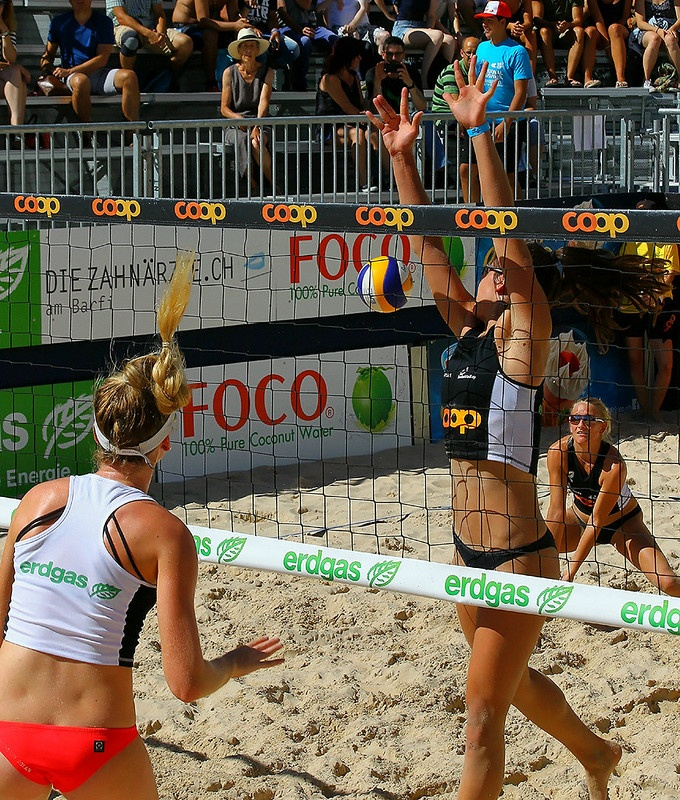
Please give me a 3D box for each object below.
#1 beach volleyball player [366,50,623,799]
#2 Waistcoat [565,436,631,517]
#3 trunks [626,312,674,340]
[{"bbox_3d":[0.439,0.150,3.632,0.609,2.141,0.844,-3,11,-7],"label":"beach volleyball player"},{"bbox_3d":[0.989,0.345,5.086,0.245,0.379,0.192,15,4,27],"label":"Waistcoat"},{"bbox_3d":[1.983,-0.468,8.203,0.283,0.255,0.310,1,1,-3],"label":"trunks"}]
